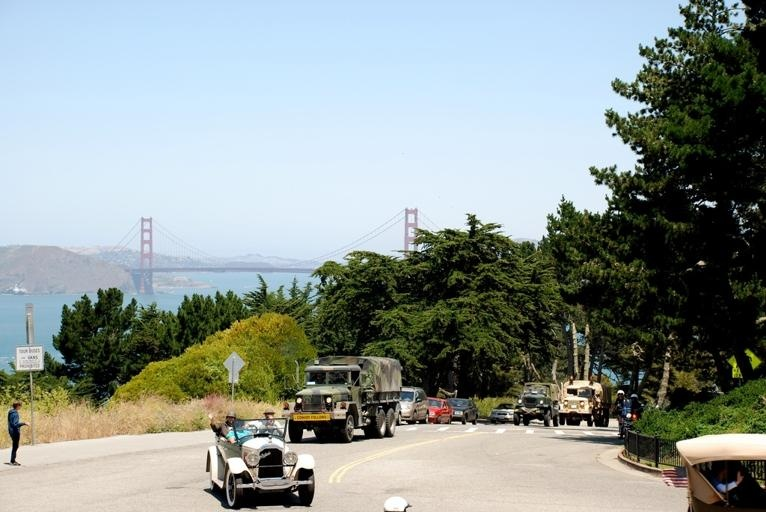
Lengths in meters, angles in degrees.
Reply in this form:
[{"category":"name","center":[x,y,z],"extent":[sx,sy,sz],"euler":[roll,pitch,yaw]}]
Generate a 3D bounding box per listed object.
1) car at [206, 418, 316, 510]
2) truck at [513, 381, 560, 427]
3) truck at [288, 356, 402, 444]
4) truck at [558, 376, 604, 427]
[{"category":"car","center":[-4.340,7.316,38.238],"extent":[3.542,2.908,7.025],"euler":[2,0,0]},{"category":"truck","center":[10.578,10.018,73.633],"extent":[2.015,2.329,4.050],"euler":[-3,-14,17]},{"category":"truck","center":[-1.540,7.193,54.390],"extent":[2.823,4.156,9.024],"euler":[-4,-8,28]},{"category":"truck","center":[13.850,10.249,75.166],"extent":[2.832,3.198,2.614],"euler":[-2,-7,10]}]
